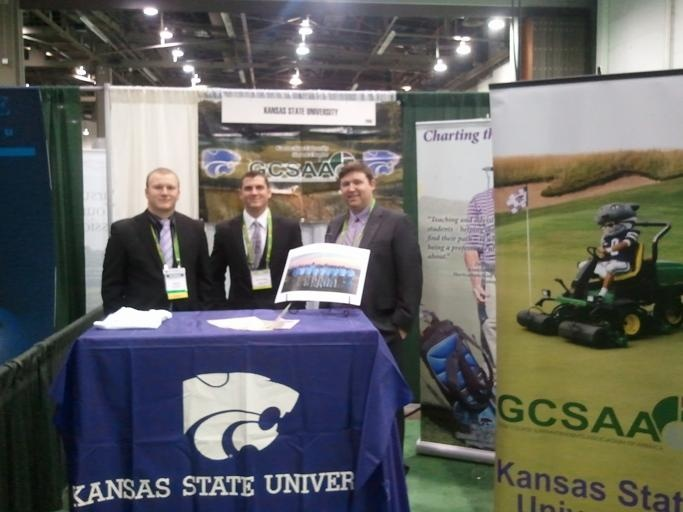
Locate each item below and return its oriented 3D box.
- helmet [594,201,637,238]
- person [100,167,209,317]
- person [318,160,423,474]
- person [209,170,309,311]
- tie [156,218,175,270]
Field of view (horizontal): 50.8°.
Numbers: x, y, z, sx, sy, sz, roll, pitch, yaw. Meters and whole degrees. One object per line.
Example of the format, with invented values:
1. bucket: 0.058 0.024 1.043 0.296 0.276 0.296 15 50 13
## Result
1. helmet: 1.417 -0.191 3.737 0.153 0.172 0.176 18 -19 -27
2. person: -1.266 -0.096 4.876 0.725 0.963 0.316 -4 10 -13
3. person: 0.157 0.464 4.839 0.706 2.163 0.635 1 9 16
4. person: -0.601 -0.106 5.026 0.644 0.957 0.357 -3 9 -8
5. tie: -1.197 -0.110 4.917 0.106 0.036 0.479 -3 46 -7
